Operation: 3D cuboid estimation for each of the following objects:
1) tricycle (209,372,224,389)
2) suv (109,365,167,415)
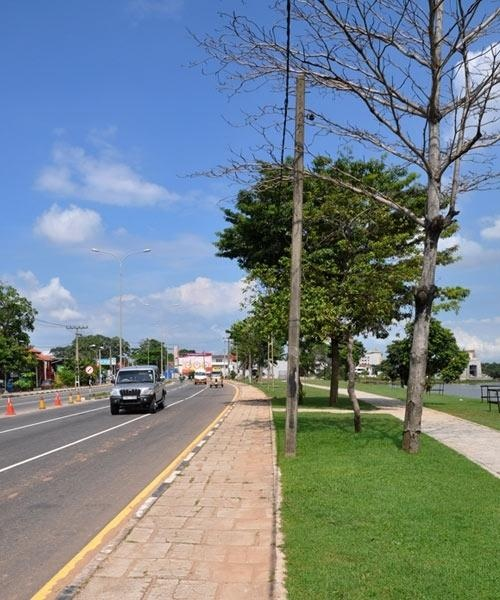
[{"bbox_3d":[-3.412,8.330,60.375,1.104,1.058,2.251,1,-13,-5],"label":"tricycle"},{"bbox_3d":[-4.734,3.788,24.685,1.704,1.965,3.156,2,-5,0],"label":"suv"}]
